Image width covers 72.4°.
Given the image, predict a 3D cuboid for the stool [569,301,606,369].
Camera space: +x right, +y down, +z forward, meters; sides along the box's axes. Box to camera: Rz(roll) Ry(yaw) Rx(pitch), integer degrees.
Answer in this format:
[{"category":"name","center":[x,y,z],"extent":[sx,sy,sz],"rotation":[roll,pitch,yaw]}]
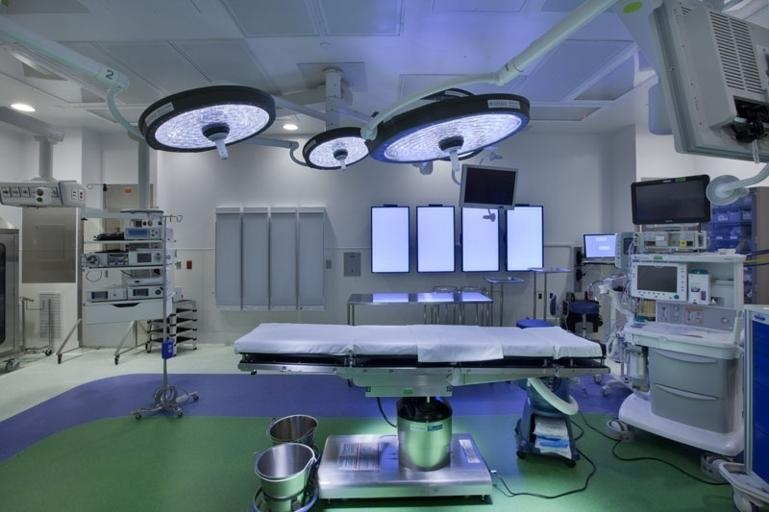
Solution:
[{"category":"stool","center":[2.863,1.026,7.536],"extent":[0.331,0.495,0.324],"rotation":[-4,7,4]}]

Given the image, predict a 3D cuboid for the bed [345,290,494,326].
[{"category":"bed","center":[0.568,0.830,7.630],"extent":[1.940,0.606,1.554],"rotation":[-2,2,9]}]

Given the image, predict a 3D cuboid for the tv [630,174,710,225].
[{"category":"tv","center":[3.132,-0.590,5.745],"extent":[0.701,0.480,0.084],"rotation":[0,2,40]}]

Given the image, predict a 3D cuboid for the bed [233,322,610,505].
[{"category":"bed","center":[0.325,1.545,5.414],"extent":[3.384,1.571,1.500],"rotation":[1,1,-1]}]

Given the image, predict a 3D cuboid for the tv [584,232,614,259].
[{"category":"tv","center":[3.287,-0.137,8.062],"extent":[0.384,0.273,0.039],"rotation":[0,-1,4]}]

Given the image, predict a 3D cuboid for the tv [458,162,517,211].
[{"category":"tv","center":[1.367,-0.909,7.008],"extent":[0.838,0.566,0.081],"rotation":[2,6,-15]}]
